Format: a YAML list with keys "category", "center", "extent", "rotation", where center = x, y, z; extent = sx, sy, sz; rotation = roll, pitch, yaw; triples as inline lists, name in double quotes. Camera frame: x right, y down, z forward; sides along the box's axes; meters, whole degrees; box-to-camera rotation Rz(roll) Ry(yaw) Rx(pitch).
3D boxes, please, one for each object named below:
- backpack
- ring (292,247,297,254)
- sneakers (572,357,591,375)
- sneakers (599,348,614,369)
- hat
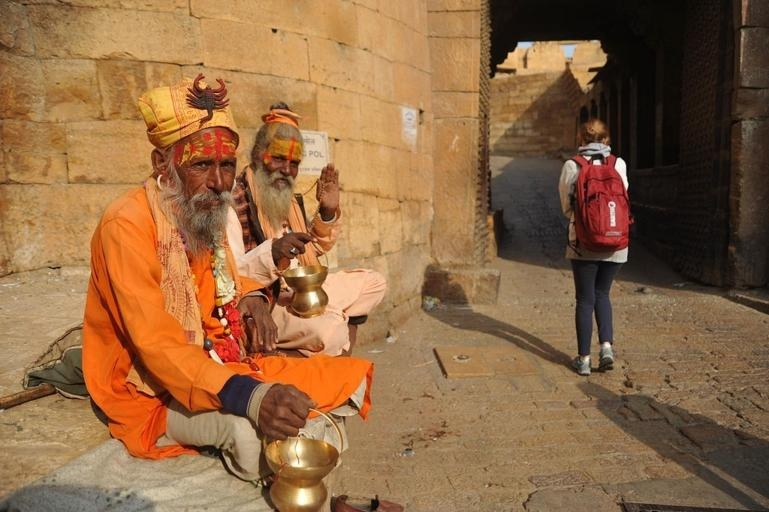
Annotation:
- category: "backpack"
  center: [2.081, -0.438, 6.718]
  extent: [0.478, 0.828, 0.344]
  rotation: [4, 9, 25]
- category: "ring"
  center: [-0.688, -0.034, 5.420]
  extent: [0.046, 0.033, 0.045]
  rotation: [2, -7, 0]
- category: "sneakers"
  center: [1.973, 1.101, 6.990]
  extent: [0.099, 0.108, 0.255]
  rotation: [1, 8, 14]
- category: "sneakers"
  center: [2.233, 1.033, 7.038]
  extent: [0.104, 0.128, 0.269]
  rotation: [0, 3, 13]
- category: "hat"
  center: [-1.384, -1.051, 5.047]
  extent: [0.475, 0.425, 0.662]
  rotation: [13, 21, 6]
